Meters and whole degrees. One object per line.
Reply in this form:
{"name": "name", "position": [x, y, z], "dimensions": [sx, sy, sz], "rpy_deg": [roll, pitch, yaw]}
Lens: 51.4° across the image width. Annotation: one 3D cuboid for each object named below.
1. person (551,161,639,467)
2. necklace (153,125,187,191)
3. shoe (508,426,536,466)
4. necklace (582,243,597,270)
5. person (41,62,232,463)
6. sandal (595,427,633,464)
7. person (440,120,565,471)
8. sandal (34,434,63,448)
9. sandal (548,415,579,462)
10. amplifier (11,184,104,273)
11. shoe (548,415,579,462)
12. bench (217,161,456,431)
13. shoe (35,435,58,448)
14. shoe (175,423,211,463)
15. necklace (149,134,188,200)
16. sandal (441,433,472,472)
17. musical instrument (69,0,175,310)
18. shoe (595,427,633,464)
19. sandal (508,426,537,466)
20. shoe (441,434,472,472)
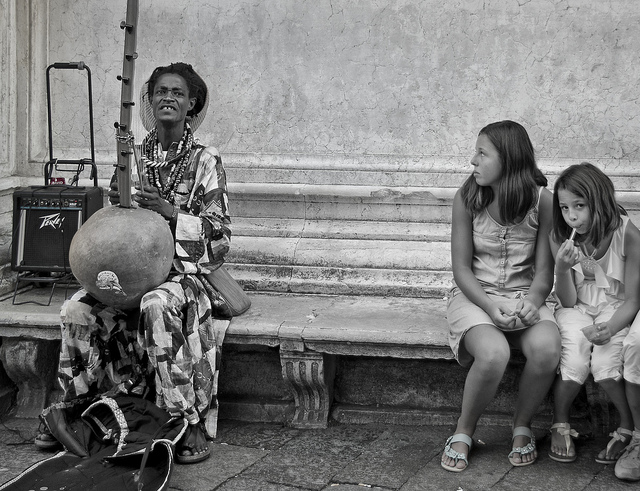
{"name": "person", "position": [1.297, 0.310, 3.145], "dimensions": [0.416, 1.358, 0.527], "rpy_deg": [3, 15, 19]}
{"name": "necklace", "position": [-0.805, -0.471, 3.611], "dimensions": [0.202, 0.334, 0.057], "rpy_deg": [5, -2, 20]}
{"name": "shoe", "position": [0.995, 0.938, 3.220], "dimensions": [0.136, 0.114, 0.383], "rpy_deg": [-3, 10, 21]}
{"name": "necklace", "position": [1.324, 0.060, 3.252], "dimensions": [0.065, 0.126, 0.033], "rpy_deg": [6, 15, 26]}
{"name": "person", "position": [-0.894, 0.049, 3.378], "dimensions": [0.855, 1.911, 1.068], "rpy_deg": [3, 15, 19]}
{"name": "sandal", "position": [1.403, 0.930, 3.130], "dimensions": [0.253, 0.100, 0.085], "rpy_deg": [-10, 9, -42]}
{"name": "person", "position": [0.903, 0.202, 3.225], "dimensions": [0.556, 1.558, 0.718], "rpy_deg": [2, 14, 13]}
{"name": "sandal", "position": [-1.366, 0.994, 3.339], "dimensions": [0.145, 0.057, 0.064], "rpy_deg": [7, 5, 26]}
{"name": "sandal", "position": [1.187, 0.909, 3.239], "dimensions": [0.139, 0.116, 0.343], "rpy_deg": [-5, 14, 18]}
{"name": "amplifier", "position": [-1.534, -0.121, 4.223], "dimensions": [0.617, 0.663, 0.478], "rpy_deg": [1, 2, 5]}
{"name": "shoe", "position": [1.164, 0.918, 3.159], "dimensions": [0.131, 0.192, 0.119], "rpy_deg": [3, 14, 16]}
{"name": "bench", "position": [0.112, 0.302, 4.199], "dimensions": [1.949, 1.247, 1.018], "rpy_deg": [4, 33, 31]}
{"name": "shoe", "position": [-1.375, 0.990, 3.339], "dimensions": [0.115, 0.049, 0.054], "rpy_deg": [2, 3, 20]}
{"name": "shoe", "position": [-0.637, 0.979, 3.291], "dimensions": [0.105, 0.115, 0.279], "rpy_deg": [8, -1, -6]}
{"name": "necklace", "position": [-0.811, -0.409, 3.576], "dimensions": [0.204, 0.348, 0.059], "rpy_deg": [6, 1, 21]}
{"name": "sandal", "position": [0.627, 0.959, 3.056], "dimensions": [0.081, 0.094, 0.239], "rpy_deg": [0, -1, 14]}
{"name": "musical instrument", "position": [-1.015, -0.486, 3.573], "dimensions": [0.474, 1.474, 1.308], "rpy_deg": [-3, 14, -5]}
{"name": "shoe", "position": [1.382, 0.935, 3.115], "dimensions": [0.251, 0.099, 0.085], "rpy_deg": [-5, 6, -41]}
{"name": "sandal", "position": [0.985, 0.941, 3.219], "dimensions": [0.135, 0.126, 0.353], "rpy_deg": [-3, 6, 14]}
{"name": "shoe", "position": [0.631, 0.963, 3.076], "dimensions": [0.082, 0.089, 0.230], "rpy_deg": [0, 1, 14]}
